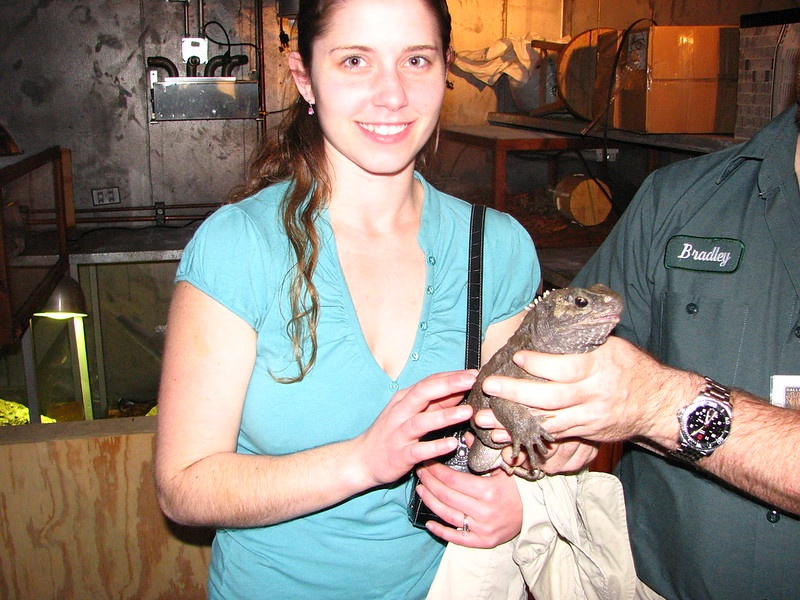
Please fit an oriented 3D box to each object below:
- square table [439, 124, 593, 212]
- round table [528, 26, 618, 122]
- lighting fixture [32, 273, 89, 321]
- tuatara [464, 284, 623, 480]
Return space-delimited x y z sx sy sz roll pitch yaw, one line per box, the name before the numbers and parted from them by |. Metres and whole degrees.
square table | 0.738 -0.998 4.059 0.719 0.704 0.732 7 15 23
round table | 1.199 -1.583 4.354 0.575 0.625 0.491 -18 30 -34
lighting fixture | -2.446 -0.025 4.540 0.325 0.330 0.329 1 1 39
tuatara | 0.400 0.263 1.843 0.313 0.639 0.398 -1 10 -13
